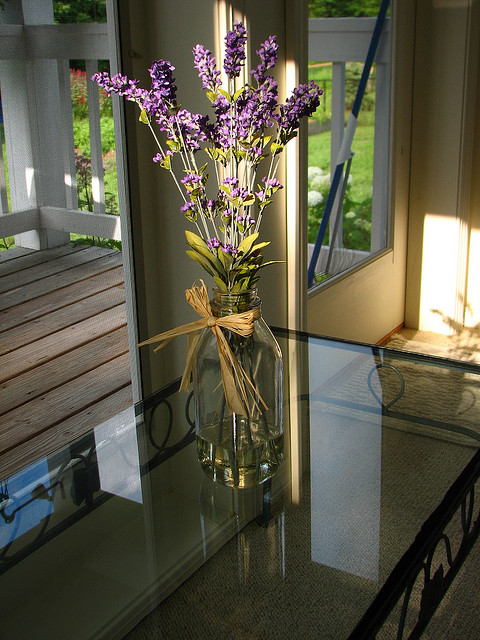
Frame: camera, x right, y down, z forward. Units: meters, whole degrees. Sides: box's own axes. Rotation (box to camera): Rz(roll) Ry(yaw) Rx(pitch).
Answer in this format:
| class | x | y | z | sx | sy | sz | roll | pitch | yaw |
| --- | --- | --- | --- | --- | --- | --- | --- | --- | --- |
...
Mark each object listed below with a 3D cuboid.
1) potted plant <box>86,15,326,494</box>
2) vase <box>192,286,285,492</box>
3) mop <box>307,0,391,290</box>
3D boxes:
| class | x | y | z | sx | sy | sz | roll | pitch | yaw |
| --- | --- | --- | --- | --- | --- | --- | --- | --- | --- |
| potted plant | -0.020 | -0.066 | 0.719 | 0.211 | 0.632 | 0.204 | -12 | 15 | -29 |
| vase | 0.023 | 0.119 | 0.789 | 0.129 | 0.319 | 0.151 | -2 | -1 | -18 |
| mop | 0.461 | -0.778 | 2.011 | 0.074 | 1.361 | 0.029 | 14 | -3 | -40 |
